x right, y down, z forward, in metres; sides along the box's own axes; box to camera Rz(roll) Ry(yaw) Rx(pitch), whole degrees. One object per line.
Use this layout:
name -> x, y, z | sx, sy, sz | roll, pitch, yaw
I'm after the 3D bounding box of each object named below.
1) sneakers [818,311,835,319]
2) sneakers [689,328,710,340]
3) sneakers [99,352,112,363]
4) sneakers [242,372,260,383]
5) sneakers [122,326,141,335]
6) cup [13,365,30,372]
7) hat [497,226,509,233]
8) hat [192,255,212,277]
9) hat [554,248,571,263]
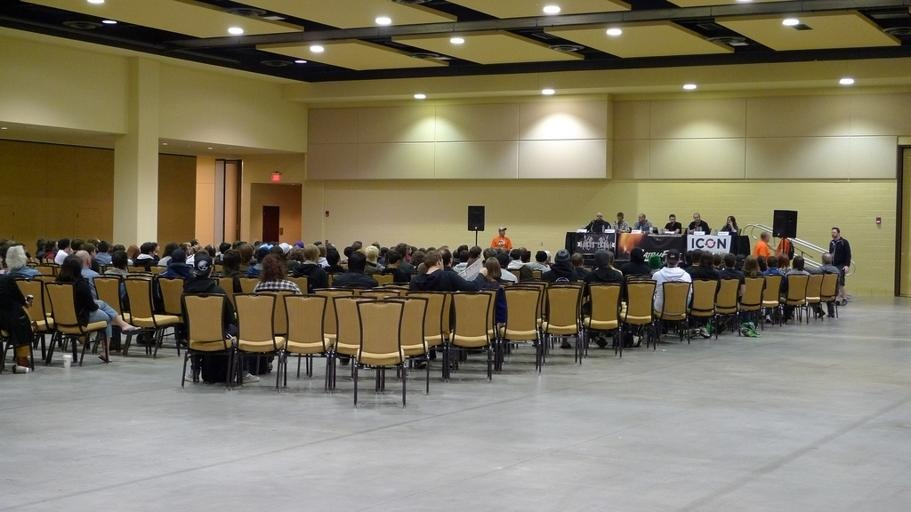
sneakers -> 10.565, 1.666, 18.781 | 0.640, 0.232, 0.186 | -4, 2, -21
sneakers -> 5.705, 1.826, 15.486 | 0.273, 0.151, 0.404 | 6, -10, -40
sneakers -> -6.439, 1.851, 12.102 | 0.376, 0.137, 0.130 | 13, 5, 41
sneakers -> -3.359, 1.991, 10.872 | 0.260, 0.121, 0.392 | -1, 5, -19
sneakers -> -6.150, 1.398, 12.362 | 0.459, 0.164, 0.147 | -4, 1, 8
cup -> -7.346, 1.908, 11.175 | 0.238, 0.105, 0.074 | 0, 6, -5
hat -> 2.001, -1.155, 27.451 | 0.410, 0.170, 0.630 | 0, -6, -1
hat -> -4.189, 0.151, 10.909 | 0.324, 0.243, 0.499 | 17, 4, -5
hat -> 2.241, -0.010, 13.695 | 0.332, 0.353, 0.396 | 2, 6, 10
